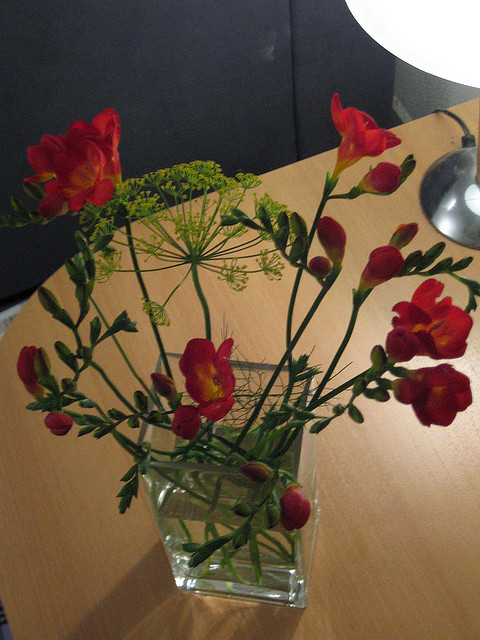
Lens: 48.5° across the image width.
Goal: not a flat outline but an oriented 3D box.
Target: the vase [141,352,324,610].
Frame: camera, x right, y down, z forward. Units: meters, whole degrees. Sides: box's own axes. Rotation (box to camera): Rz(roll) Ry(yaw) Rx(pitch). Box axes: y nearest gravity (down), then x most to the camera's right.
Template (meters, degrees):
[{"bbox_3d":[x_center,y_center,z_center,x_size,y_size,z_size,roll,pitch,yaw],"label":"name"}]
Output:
[{"bbox_3d":[-0.019,0.155,0.428,0.154,0.213,0.094,4,34,16],"label":"vase"}]
